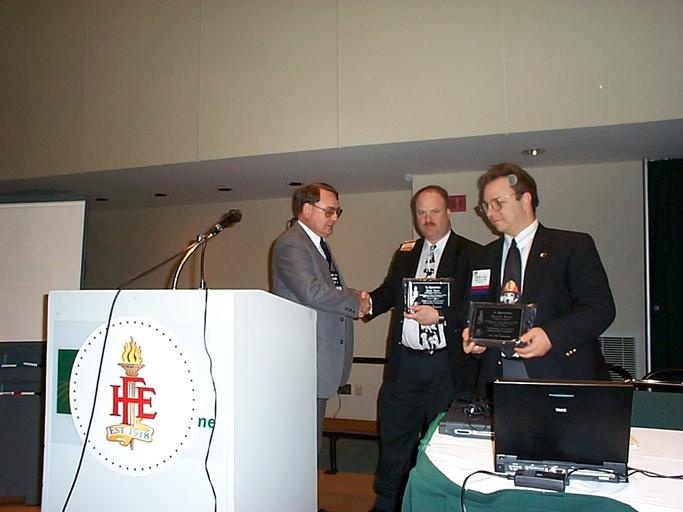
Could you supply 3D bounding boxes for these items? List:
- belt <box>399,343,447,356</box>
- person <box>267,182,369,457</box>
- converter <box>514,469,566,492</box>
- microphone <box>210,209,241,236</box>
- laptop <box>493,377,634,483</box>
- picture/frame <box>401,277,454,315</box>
[{"bbox_3d":[0.525,0.596,3.985,0.301,0.062,0.075,-5,-7,32],"label":"belt"},{"bbox_3d":[-0.100,0.318,3.969,0.564,1.657,0.636,-6,-7,43],"label":"person"},{"bbox_3d":[0.806,0.901,2.498,0.202,0.063,0.077,-3,-6,20],"label":"converter"},{"bbox_3d":[-0.542,-0.159,2.916,0.125,0.161,0.329,0,-6,-7],"label":"microphone"},{"bbox_3d":[0.945,0.663,2.705,0.554,0.450,0.404,1,18,18],"label":"laptop"},{"bbox_3d":[0.549,0.242,3.880,0.312,0.218,0.169,-1,-6,6],"label":"picture/frame"}]
